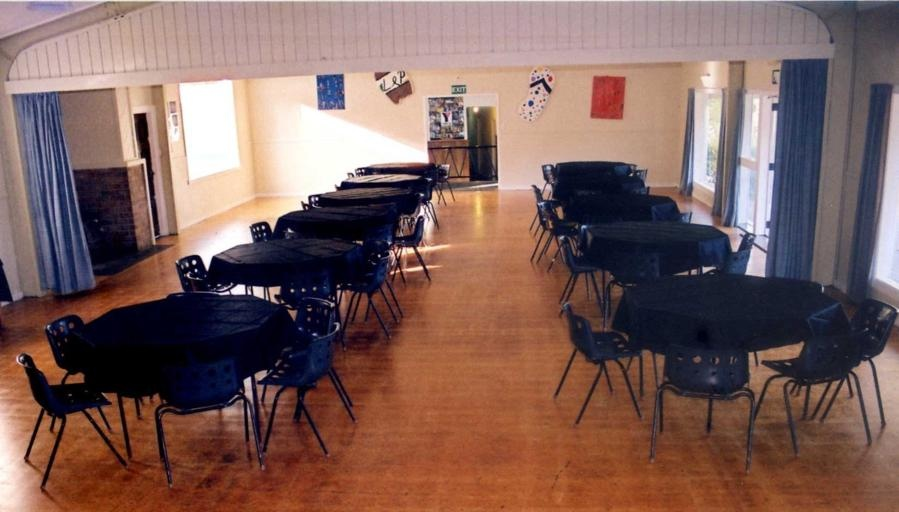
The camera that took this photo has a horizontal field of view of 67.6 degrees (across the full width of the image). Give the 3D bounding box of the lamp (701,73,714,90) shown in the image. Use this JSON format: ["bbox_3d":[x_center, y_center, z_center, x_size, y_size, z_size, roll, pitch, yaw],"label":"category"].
[{"bbox_3d":[5.858,-3.922,15.093,0.346,0.362,0.364,4,-25,20],"label":"lamp"}]
